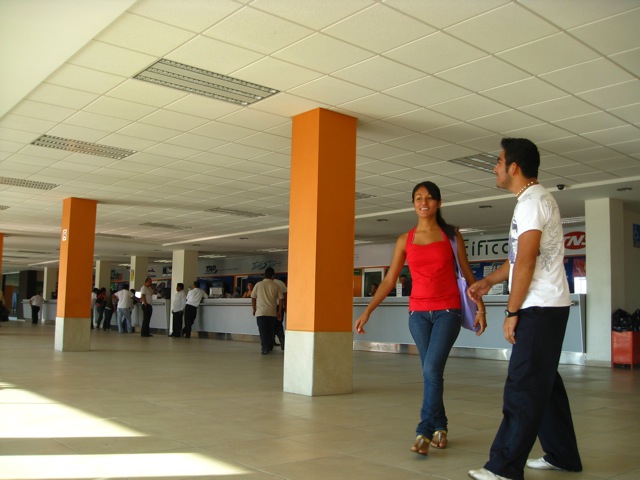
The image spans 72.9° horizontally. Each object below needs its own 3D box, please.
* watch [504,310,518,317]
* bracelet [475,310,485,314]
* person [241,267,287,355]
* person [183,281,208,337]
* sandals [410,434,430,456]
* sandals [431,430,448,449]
[{"bbox_3d":[1.128,0.431,2.553,0.061,0.029,0.042,-1,4,-7],"label":"watch"},{"bbox_3d":[1.199,0.532,3.244,0.047,0.017,0.048,5,-7,-9],"label":"bracelet"},{"bbox_3d":[-1.407,1.976,12.315,0.902,2.376,0.947,-3,-12,25],"label":"person"},{"bbox_3d":[-5.322,2.931,18.310,0.862,2.322,0.956,4,-11,-15],"label":"person"},{"bbox_3d":[0.718,1.472,3.092,0.089,0.081,0.218,2,-18,26],"label":"sandals"},{"bbox_3d":[0.914,1.529,3.340,0.103,0.073,0.186,0,-3,1],"label":"sandals"}]
